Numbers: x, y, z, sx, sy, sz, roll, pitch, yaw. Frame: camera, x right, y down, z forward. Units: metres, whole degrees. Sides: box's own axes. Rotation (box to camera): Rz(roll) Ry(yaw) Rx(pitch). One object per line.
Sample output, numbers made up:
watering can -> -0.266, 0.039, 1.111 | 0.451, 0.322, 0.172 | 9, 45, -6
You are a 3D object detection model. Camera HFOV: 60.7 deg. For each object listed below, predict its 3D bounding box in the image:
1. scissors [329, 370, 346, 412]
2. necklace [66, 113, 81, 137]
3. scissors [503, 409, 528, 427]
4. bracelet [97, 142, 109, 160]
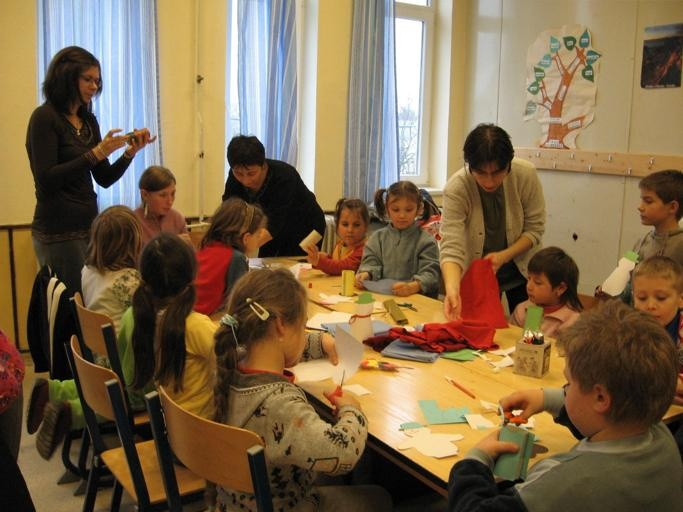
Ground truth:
scissors -> -0.011, 0.443, 1.994 | 0.029, 0.165, 0.045 | 11, -32, 13
necklace -> -1.518, -0.752, 3.345 | 0.031, 0.103, 0.069 | -27, 27, -18
scissors -> 0.541, 0.506, 1.814 | 0.073, 0.035, 0.078 | 2, 3, 24
bracelet -> -1.347, -0.592, 3.318 | 0.061, 0.078, 0.070 | 4, -23, -10
